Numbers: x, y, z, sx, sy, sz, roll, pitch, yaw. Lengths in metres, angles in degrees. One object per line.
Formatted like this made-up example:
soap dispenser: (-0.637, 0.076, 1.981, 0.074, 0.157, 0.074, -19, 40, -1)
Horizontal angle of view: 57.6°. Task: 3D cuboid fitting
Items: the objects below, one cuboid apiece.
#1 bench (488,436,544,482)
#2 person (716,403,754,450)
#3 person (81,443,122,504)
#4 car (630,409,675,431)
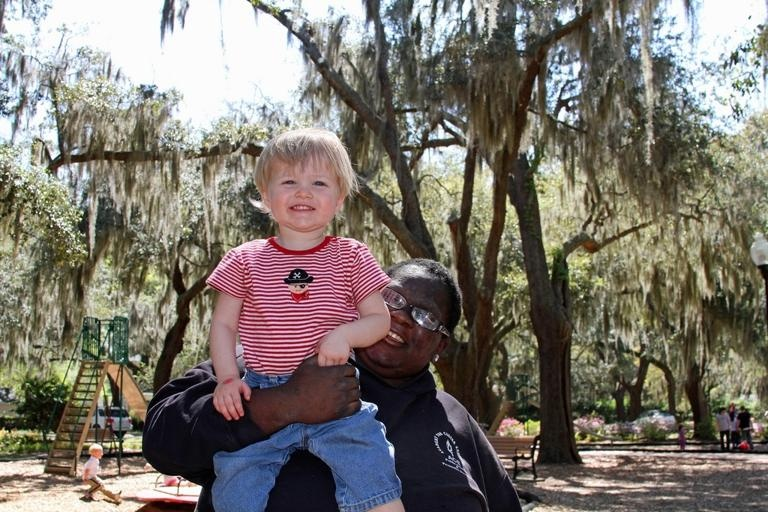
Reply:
bench: (3.339, 5.073, 18.337, 1.812, 0.764, 0.589, 16, -32, -22)
person: (13.211, 6.396, 26.141, 1.006, 1.558, 3.118, -8, -13, 27)
person: (-6.451, 4.958, 15.889, 0.806, 1.288, 1.458, 3, -13, -29)
car: (14.033, 8.570, 36.300, 1.374, 1.067, 1.736, -3, -3, 15)
